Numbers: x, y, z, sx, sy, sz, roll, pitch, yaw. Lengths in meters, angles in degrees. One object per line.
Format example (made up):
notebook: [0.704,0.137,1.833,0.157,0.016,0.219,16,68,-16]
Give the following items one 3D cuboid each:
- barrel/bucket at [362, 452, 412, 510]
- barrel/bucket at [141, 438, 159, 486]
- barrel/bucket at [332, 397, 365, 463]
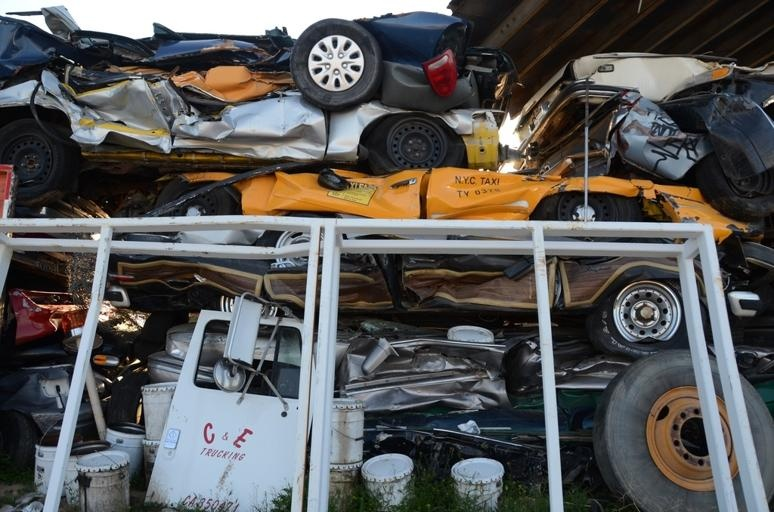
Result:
barrel/bucket: [0.008,2.114,6.028,0.467,0.278,0.421,-7,5,-11]
barrel/bucket: [-2.572,2.169,6.794,0.140,0.436,0.312,11,-18,-23]
barrel/bucket: [-0.386,1.706,6.219,0.345,0.628,0.217,6,-17,-8]
